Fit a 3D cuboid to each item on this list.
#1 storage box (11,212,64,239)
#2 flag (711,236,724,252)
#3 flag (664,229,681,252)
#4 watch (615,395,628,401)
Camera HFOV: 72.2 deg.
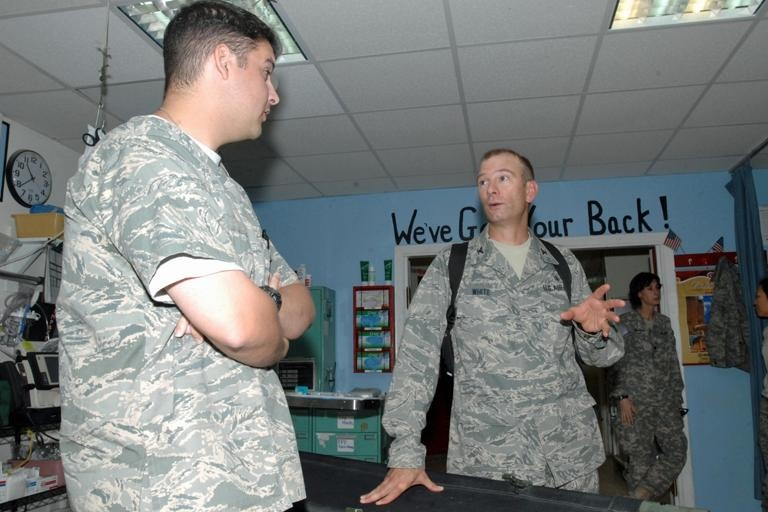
[{"bbox_3d":[-2.904,-0.241,4.460,0.488,0.225,0.368,1,-4,-25],"label":"storage box"},{"bbox_3d":[3.604,-0.127,5.678,0.134,0.149,0.013,25,-3,26],"label":"flag"},{"bbox_3d":[3.154,-0.164,5.755,0.210,0.213,0.022,-20,-4,9],"label":"flag"},{"bbox_3d":[2.308,1.363,5.123,0.080,0.027,0.061,-2,-3,23],"label":"watch"}]
